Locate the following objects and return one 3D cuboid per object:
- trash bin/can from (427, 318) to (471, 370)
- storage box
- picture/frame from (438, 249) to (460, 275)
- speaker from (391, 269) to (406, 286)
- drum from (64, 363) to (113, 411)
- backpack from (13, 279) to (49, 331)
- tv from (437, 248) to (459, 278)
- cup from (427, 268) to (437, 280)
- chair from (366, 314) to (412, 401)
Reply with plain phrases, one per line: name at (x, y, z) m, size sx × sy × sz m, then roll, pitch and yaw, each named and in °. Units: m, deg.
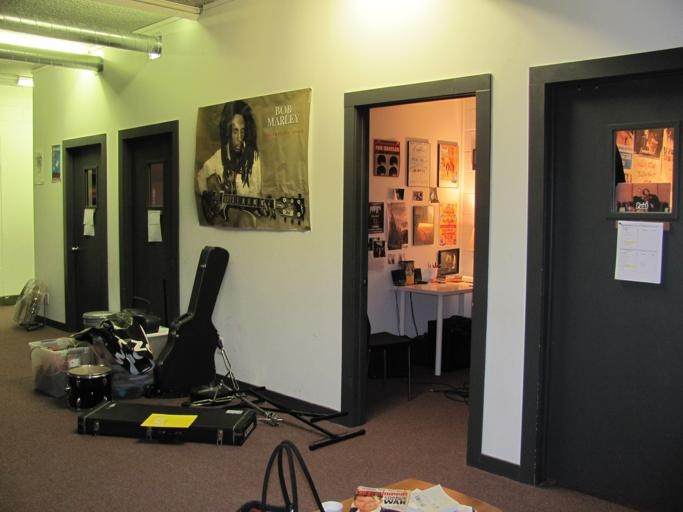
trash bin/can at (1.154, 0.947, 5.813) m, size 0.482 × 0.526 × 0.280 m, roll -3°, pitch 7°, yaw -36°
storage box at (-2.337, 0.995, 5.049) m, size 0.900 × 0.416 × 0.703 m, roll 1°, pitch -3°, yaw -20°
picture/frame at (1.285, 0.074, 6.615) m, size 0.021 × 0.254 × 0.273 m, roll 3°, pitch 5°, yaw 43°
speaker at (0.621, 0.248, 6.040) m, size 0.143 × 0.309 × 0.154 m, roll -4°, pitch -7°, yaw -1°
drum at (-2.166, 1.118, 4.700) m, size 0.325 × 0.282 × 0.350 m, roll 2°, pitch 0°, yaw -26°
backpack at (-4.444, 0.729, 7.822) m, size 0.377 × 0.762 × 0.538 m, roll 9°, pitch -3°, yaw -44°
tv at (1.275, 0.086, 6.602) m, size 0.298 × 0.278 × 0.022 m, roll -5°, pitch 6°, yaw -45°
cup at (1.049, 0.210, 6.324) m, size 0.107 × 0.142 × 0.118 m, roll 0°, pitch -1°, yaw 10°
chair at (0.462, 0.944, 5.149) m, size 0.420 × 0.737 × 0.939 m, roll 0°, pitch 8°, yaw 4°
